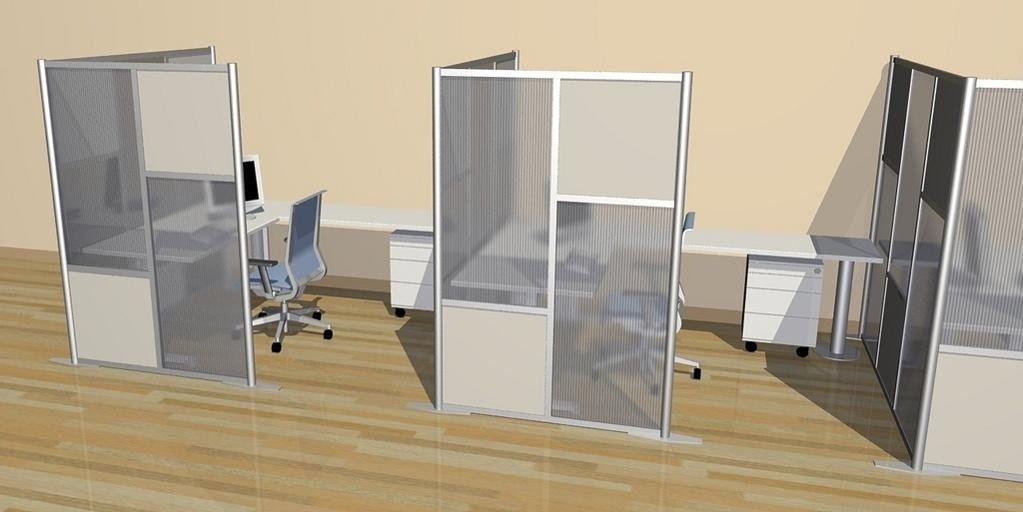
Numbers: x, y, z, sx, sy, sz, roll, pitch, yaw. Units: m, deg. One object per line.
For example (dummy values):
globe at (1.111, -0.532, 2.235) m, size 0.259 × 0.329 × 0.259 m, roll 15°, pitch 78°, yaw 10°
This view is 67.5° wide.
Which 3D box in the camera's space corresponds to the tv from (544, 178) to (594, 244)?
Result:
tv at (0.581, -0.319, 7.163) m, size 0.462 × 0.393 × 0.025 m, roll 1°, pitch -2°, yaw -33°

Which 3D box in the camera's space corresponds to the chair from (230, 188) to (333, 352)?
chair at (-2.418, 0.140, 8.496) m, size 0.926 × 1.749 × 0.955 m, roll 5°, pitch 16°, yaw 2°

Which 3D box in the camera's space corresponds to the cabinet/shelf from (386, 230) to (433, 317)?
cabinet/shelf at (-1.151, 0.147, 8.848) m, size 0.518 × 0.880 × 0.328 m, roll 4°, pitch 16°, yaw -2°
